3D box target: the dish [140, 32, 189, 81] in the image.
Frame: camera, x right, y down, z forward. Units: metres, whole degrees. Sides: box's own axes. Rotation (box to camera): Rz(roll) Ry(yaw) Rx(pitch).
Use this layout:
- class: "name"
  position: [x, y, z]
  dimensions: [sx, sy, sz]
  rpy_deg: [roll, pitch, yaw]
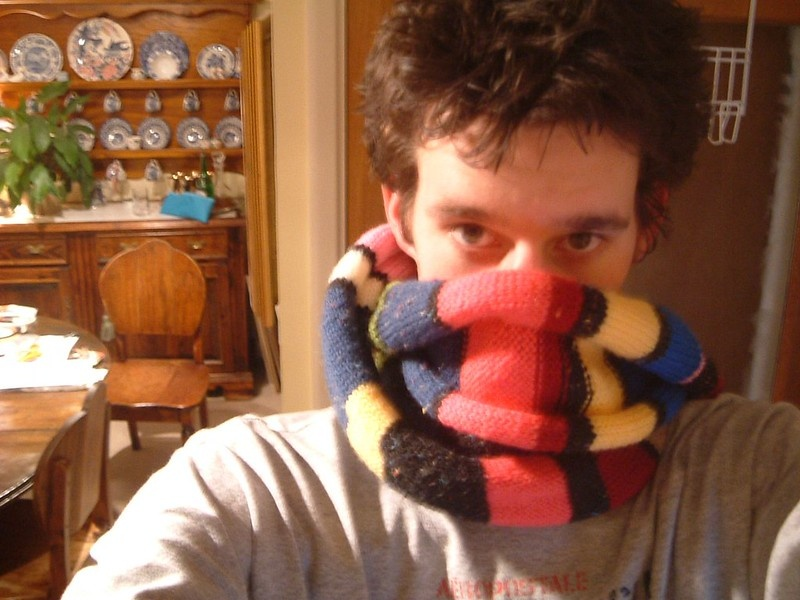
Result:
- class: "dish"
  position: [-1.163, -1.197, 3.583]
  dimensions: [0.215, 0.234, 0.046]
  rpy_deg: [1, 15, 0]

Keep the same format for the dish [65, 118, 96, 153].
- class: "dish"
  position: [-1.586, -0.824, 3.614]
  dimensions: [0.174, 0.190, 0.057]
  rpy_deg: [8, 16, 3]
